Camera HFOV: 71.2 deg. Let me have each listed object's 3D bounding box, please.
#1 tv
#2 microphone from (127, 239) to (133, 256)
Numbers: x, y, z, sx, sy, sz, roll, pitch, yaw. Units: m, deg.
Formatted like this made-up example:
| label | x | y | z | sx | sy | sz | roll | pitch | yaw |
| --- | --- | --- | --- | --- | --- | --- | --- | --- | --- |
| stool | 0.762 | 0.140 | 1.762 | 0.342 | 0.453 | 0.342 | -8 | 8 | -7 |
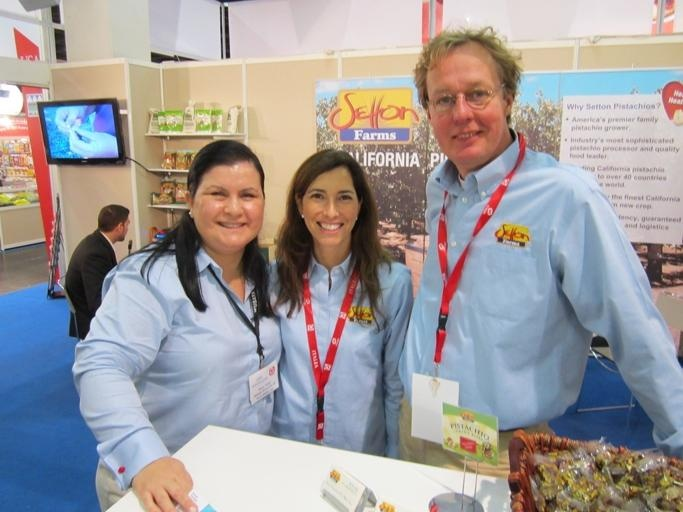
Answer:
| label | x | y | z | sx | sy | sz | roll | pitch | yaw |
| --- | --- | --- | --- | --- | --- | --- | --- | --- | --- |
| tv | -3.209 | -1.502 | 5.918 | 1.121 | 0.808 | 0.110 | 1 | 15 | 7 |
| microphone | -2.424 | -0.101 | 5.467 | 0.046 | 0.051 | 0.198 | -18 | -12 | -27 |
